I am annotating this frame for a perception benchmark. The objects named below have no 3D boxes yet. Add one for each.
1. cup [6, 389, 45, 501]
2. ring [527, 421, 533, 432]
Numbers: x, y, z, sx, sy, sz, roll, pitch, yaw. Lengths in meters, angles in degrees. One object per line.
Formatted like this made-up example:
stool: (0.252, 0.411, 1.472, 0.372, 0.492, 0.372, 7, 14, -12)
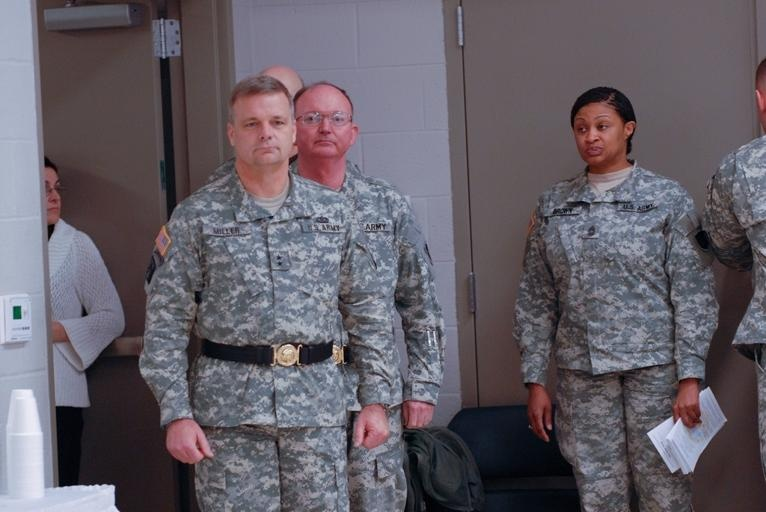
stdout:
cup: (-1.085, 0.563, 2.656, 0.103, 0.246, 0.128, -2, -1, -23)
ring: (0.701, 0.805, 4.150, 0.031, 0.037, 0.087, 1, 0, 6)
